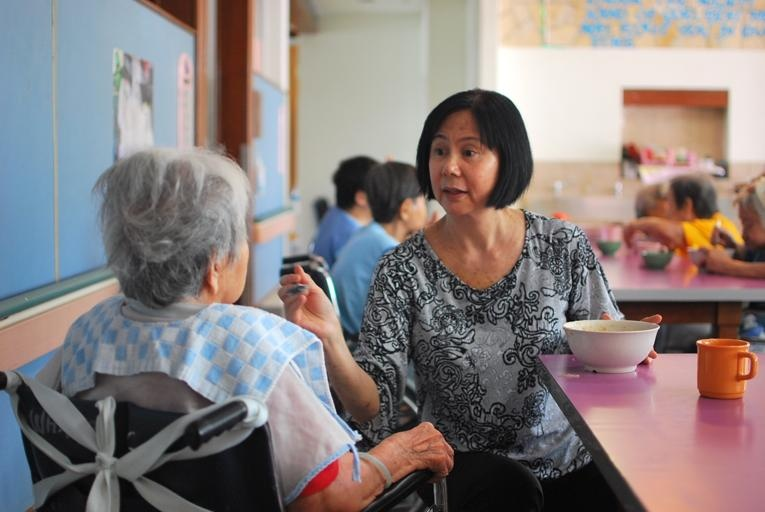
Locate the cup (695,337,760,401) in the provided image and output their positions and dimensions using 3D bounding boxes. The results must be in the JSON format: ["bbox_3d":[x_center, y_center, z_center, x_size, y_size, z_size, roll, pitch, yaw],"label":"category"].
[{"bbox_3d":[0.752,0.254,1.460,0.096,0.129,0.147,-1,2,-20],"label":"cup"}]

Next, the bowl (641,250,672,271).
[{"bbox_3d":[1.318,0.025,3.131,0.105,0.062,0.107,0,-5,0],"label":"bowl"}]

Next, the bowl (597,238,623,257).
[{"bbox_3d":[1.259,-0.045,3.599,0.094,0.063,0.096,0,-3,0],"label":"bowl"}]
